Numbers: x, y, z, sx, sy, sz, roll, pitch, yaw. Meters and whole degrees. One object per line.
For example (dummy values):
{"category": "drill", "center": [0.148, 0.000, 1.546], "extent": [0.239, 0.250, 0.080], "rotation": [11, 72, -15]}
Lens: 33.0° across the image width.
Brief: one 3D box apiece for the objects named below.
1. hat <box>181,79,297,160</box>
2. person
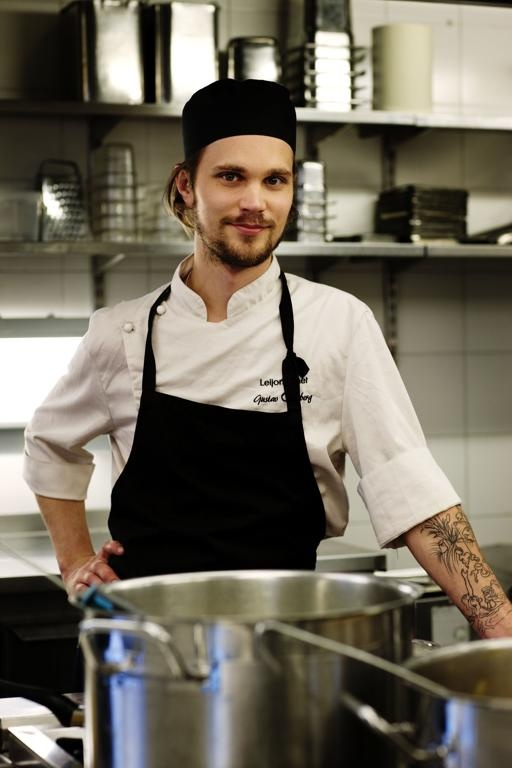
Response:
{"category": "hat", "center": [-0.014, -0.350, 1.150], "extent": [0.137, 0.073, 0.132], "rotation": [-3, 3, -37]}
{"category": "person", "center": [-0.043, -0.069, 1.121], "extent": [0.791, 0.683, 0.371], "rotation": [1, 5, 33]}
